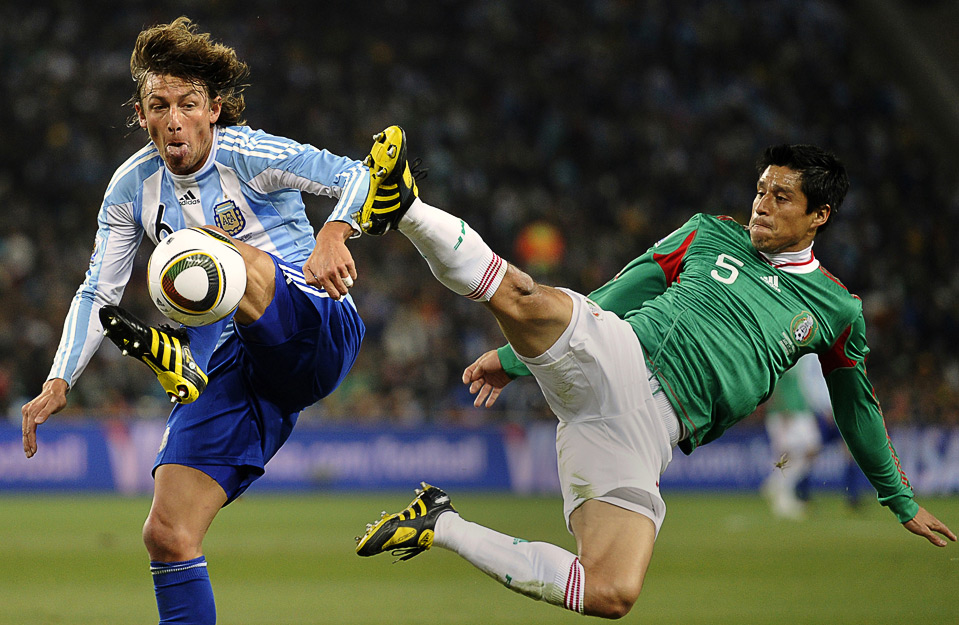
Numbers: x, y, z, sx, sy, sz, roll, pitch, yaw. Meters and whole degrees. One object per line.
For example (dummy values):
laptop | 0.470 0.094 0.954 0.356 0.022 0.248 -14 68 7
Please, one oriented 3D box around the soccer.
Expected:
soccer | -2.310 -0.295 9.147 0.830 0.896 0.893 7 11 5
